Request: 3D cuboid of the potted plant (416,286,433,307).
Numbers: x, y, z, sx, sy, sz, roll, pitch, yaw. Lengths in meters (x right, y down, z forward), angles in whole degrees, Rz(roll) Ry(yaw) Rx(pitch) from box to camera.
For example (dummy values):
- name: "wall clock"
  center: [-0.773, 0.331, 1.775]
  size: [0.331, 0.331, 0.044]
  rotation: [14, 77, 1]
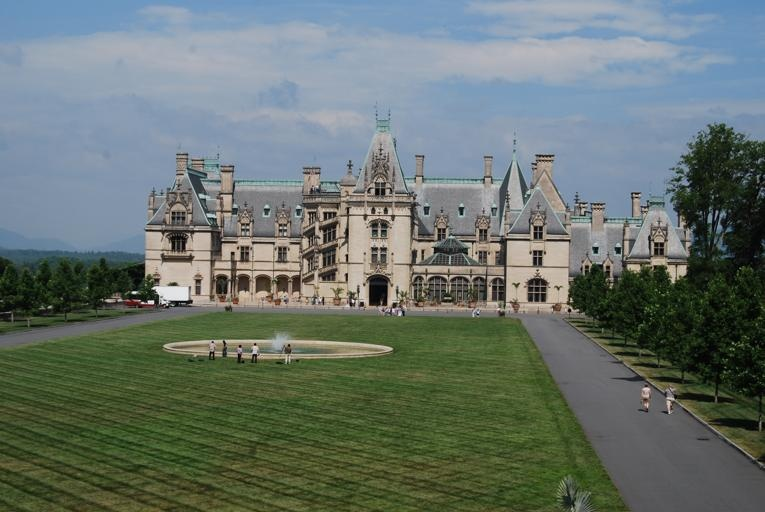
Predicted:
- name: "potted plant"
  center: [5.747, 5.320, 134.009]
  size: [2.557, 2.638, 2.373]
  rotation: [1, -5, -5]

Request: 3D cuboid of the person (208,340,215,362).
- name: "person"
  center: [-12.549, 6.776, 75.139]
  size: [0.457, 1.265, 1.863]
  rotation: [1, 10, -8]

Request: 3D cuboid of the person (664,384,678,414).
- name: "person"
  center: [17.369, 8.720, 62.955]
  size: [0.464, 1.548, 1.240]
  rotation: [4, 10, 10]

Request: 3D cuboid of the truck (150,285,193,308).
- name: "truck"
  center: [-27.132, 5.061, 132.695]
  size: [4.593, 2.018, 2.219]
  rotation: [1, -2, -1]

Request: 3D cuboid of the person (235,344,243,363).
- name: "person"
  center: [-10.415, 6.985, 74.364]
  size: [0.438, 1.166, 1.736]
  rotation: [0, 10, -9]
